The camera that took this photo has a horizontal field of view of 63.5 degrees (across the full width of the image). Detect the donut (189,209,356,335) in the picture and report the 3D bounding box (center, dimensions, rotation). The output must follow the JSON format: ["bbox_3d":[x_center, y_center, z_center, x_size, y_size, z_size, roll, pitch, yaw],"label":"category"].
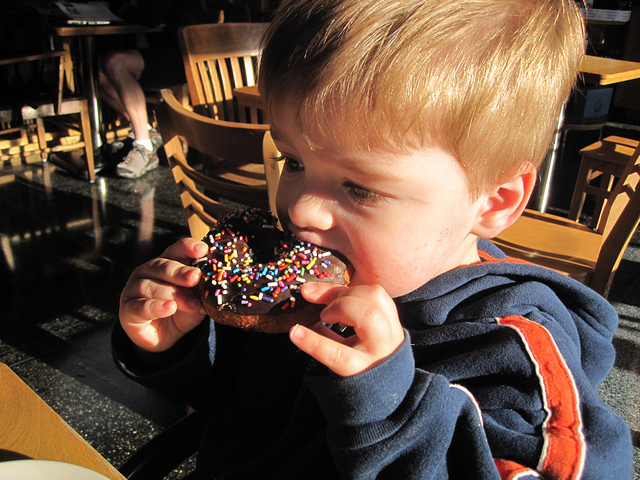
[{"bbox_3d":[-0.128,0.005,1.197,0.319,0.101,0.322,26,43,22],"label":"donut"}]

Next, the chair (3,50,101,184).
[{"bbox_3d":[-2.403,-1.085,4.638,0.743,1.112,0.753,-14,39,-20],"label":"chair"}]
